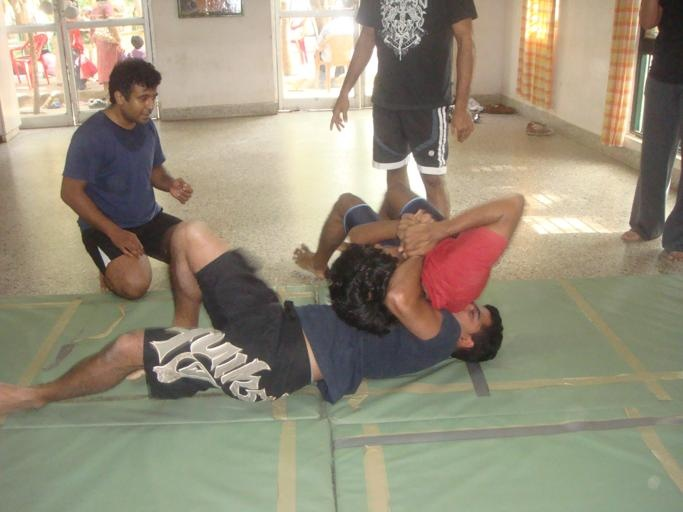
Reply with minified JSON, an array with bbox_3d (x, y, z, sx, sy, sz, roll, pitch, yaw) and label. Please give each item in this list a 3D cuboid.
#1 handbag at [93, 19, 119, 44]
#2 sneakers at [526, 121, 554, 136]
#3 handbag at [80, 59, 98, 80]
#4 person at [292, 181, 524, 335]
[{"bbox_3d":[-3.101,-2.927,7.200,0.321,0.306,0.177,19,35,-3],"label":"handbag"},{"bbox_3d":[2.282,-1.464,6.295,0.302,0.121,0.180,0,32,-2],"label":"sneakers"},{"bbox_3d":[-3.385,-2.502,7.250,0.122,0.238,0.124,-20,52,1],"label":"handbag"},{"bbox_3d":[0.225,0.004,2.248,0.639,0.418,1.104,-6,10,-39],"label":"person"}]
